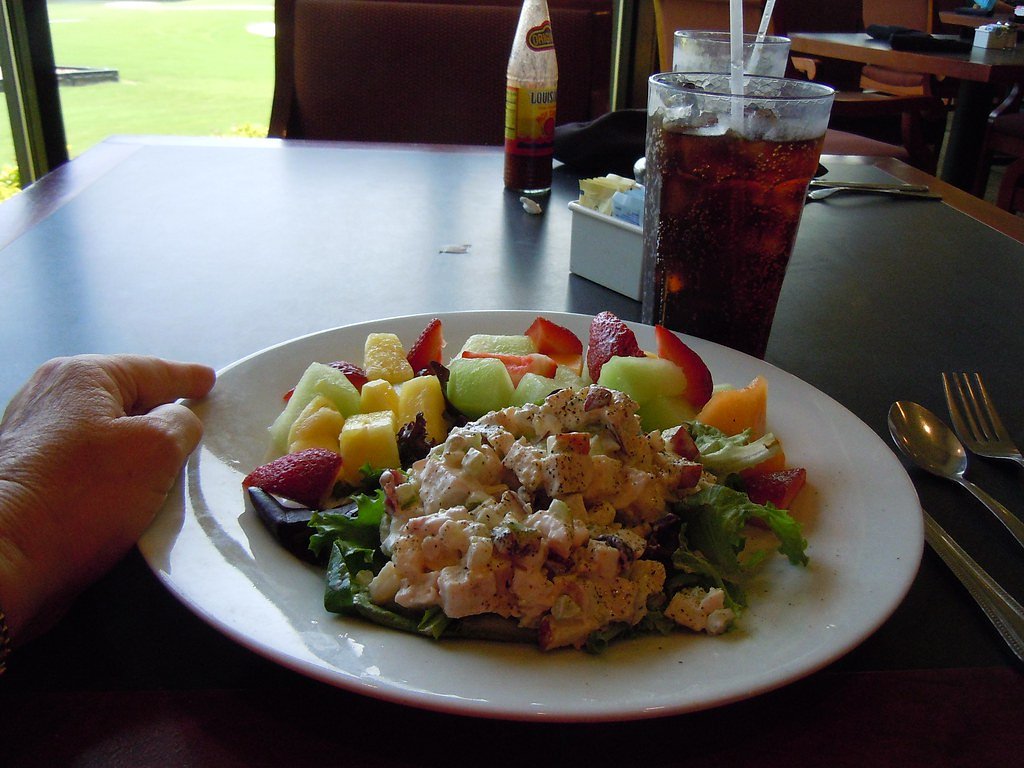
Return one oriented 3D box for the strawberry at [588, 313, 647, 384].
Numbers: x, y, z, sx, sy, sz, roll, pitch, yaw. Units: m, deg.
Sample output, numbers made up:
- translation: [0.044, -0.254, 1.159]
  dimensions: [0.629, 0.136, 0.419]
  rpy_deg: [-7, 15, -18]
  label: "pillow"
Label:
- translation: [0.148, -0.049, 1.124]
  dimensions: [0.024, 0.083, 0.091]
  rpy_deg: [4, 65, -44]
  label: "strawberry"
